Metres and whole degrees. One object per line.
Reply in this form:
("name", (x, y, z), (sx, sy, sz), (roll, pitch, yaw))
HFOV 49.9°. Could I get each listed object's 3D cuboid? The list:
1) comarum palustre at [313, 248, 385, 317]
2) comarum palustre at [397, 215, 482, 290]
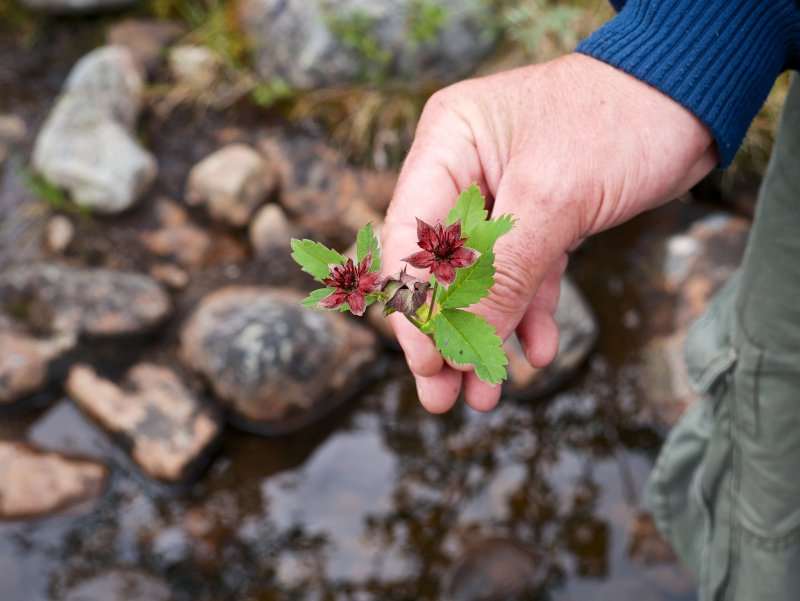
("comarum palustre", (-0.228, -0.054, 3.849), (0.325, 0.131, 0.247), (-24, 66, -15))
("comarum palustre", (0.175, -0.235, 3.873), (0.321, 0.213, 0.291), (-23, 65, -14))
